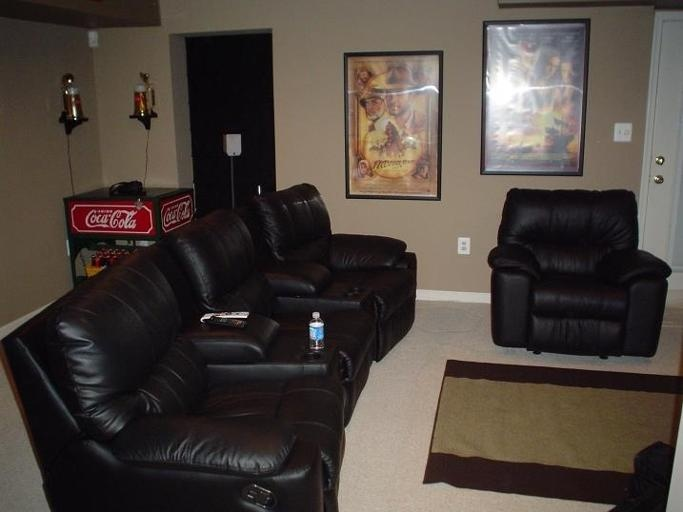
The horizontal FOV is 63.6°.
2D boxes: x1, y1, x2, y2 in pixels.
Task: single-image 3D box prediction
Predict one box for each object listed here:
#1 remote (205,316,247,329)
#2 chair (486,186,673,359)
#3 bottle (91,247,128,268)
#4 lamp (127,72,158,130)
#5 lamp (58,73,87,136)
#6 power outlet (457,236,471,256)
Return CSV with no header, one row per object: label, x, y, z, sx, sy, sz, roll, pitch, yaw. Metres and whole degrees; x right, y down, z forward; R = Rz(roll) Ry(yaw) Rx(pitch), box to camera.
remote,-0.626,0.357,2.965,0.144,0.039,0.091,2,4,-3
chair,1.821,0.115,4.682,1.341,1.389,1.372,2,8,16
bottle,-1.900,0.005,4.503,0.129,0.086,0.182,3,12,22
lamp,-1.909,-1.495,5.311,0.231,0.530,0.241,-3,14,-17
lamp,-2.493,-1.393,5.074,0.226,0.548,0.343,-6,15,-26
power outlet,1.155,-0.107,5.204,0.169,0.242,0.026,2,14,10
